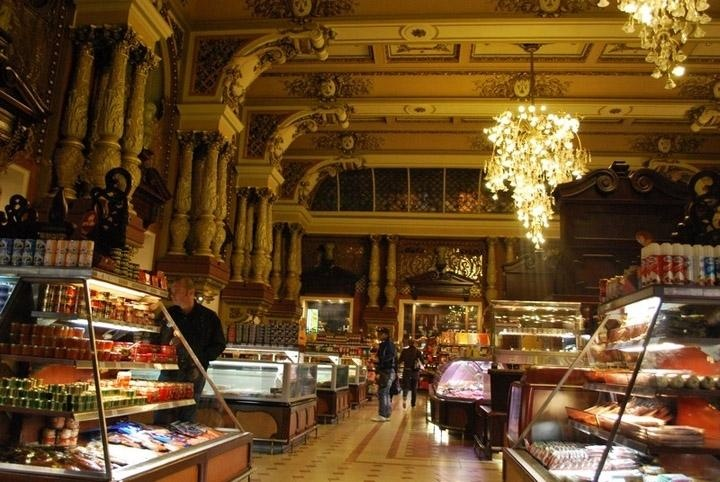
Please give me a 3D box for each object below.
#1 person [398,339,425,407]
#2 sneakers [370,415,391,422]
[{"bbox_3d":[1.101,2.710,11.516,0.543,1.415,0.533,3,5,11],"label":"person"},{"bbox_3d":[0.373,3.054,9.356,0.294,0.123,0.116,12,-27,-9],"label":"sneakers"}]
